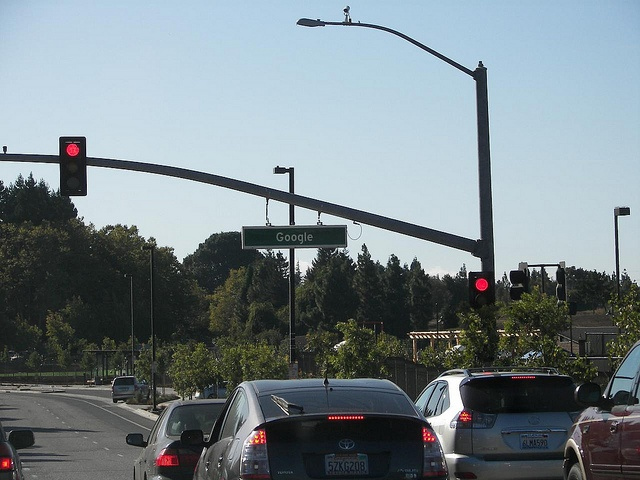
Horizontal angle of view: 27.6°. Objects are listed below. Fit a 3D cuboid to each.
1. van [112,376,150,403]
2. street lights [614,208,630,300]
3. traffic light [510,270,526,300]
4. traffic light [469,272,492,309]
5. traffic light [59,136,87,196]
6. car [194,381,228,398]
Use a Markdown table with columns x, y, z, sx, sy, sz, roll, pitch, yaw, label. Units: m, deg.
| x | y | z | sx | sy | sz | roll | pitch | yaw | label |
| --- | --- | --- | --- | --- | --- | --- | --- | --- | --- |
| -10.981 | 8.713 | 77.254 | 1.185 | 1.425 | 2.946 | 0 | -1 | 13 | van |
| 14.082 | 0.044 | 61.523 | 0.797 | 3.730 | 0.654 | -5 | -34 | 18 | street lights |
| 5.416 | 1.180 | 35.893 | 0.442 | 0.976 | 0.779 | -1 | -9 | 11 | traffic light |
| 4.185 | 1.081 | 33.996 | 0.642 | 0.681 | 1.312 | 1 | -48 | 9 | traffic light |
| -6.392 | -1.952 | 33.947 | 0.662 | 1.829 | 0.194 | 1 | -29 | -14 | traffic light |
| -5.453 | 7.315 | 65.109 | 1.455 | 0.941 | 0.967 | 5 | -7 | -3 | car |
